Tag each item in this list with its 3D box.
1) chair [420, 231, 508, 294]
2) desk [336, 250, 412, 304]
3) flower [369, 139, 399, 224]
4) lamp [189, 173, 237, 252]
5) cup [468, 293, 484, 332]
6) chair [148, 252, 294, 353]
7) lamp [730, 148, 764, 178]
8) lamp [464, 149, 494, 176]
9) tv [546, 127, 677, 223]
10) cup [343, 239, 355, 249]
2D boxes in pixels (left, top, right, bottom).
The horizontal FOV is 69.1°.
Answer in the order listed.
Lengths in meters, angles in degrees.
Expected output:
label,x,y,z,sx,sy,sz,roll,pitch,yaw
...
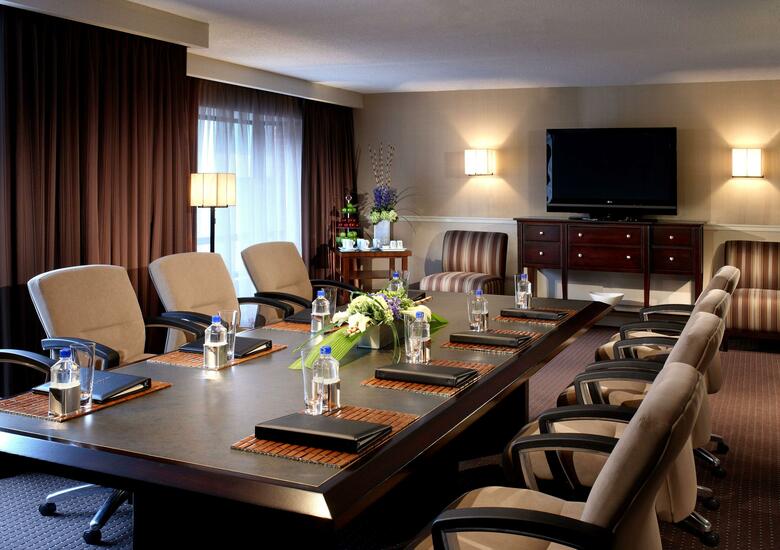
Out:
label,x,y,z,sx,sy,sz,roll,pitch,yaw
chair,0.931,0.092,7.148,1.089,1.187,1.048,1,9,6
desk,-0.272,-0.062,7.397,0.652,0.696,0.687,-1,19,-21
flower,-0.102,-1.227,7.663,0.429,1.055,0.419,1,9,28
lamp,-1.689,-0.565,5.323,0.379,0.812,0.931,-2,13,-19
cup,0.484,0.196,3.108,0.106,0.235,0.105,-2,16,1
chair,-1.140,0.073,3.763,0.737,0.809,0.731,2,6,30
lamp,3.981,-1.220,6.307,0.318,0.321,0.327,4,6,33
lamp,1.164,-1.461,7.394,0.421,0.348,0.259,6,13,12
tv,2.671,-1.182,6.642,1.202,0.846,0.324,1,2,22
cup,-0.544,-0.395,7.199,0.159,0.144,0.098,4,-6,-42
